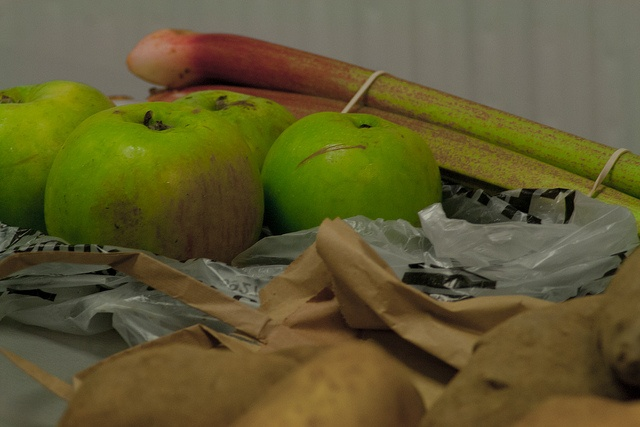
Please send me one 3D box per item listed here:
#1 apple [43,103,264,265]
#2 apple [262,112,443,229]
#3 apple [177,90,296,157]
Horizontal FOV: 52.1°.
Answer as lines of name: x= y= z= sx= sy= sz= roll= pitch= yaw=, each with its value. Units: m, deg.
apple: x=-0.186 y=-0.031 z=0.762 sx=0.213 sy=0.193 sz=0.198 roll=0 pitch=11 yaw=-13
apple: x=0.039 y=-0.047 z=0.849 sx=0.179 sy=0.123 sz=0.162 roll=-2 pitch=16 yaw=7
apple: x=-0.112 y=-0.137 z=0.898 sx=0.141 sy=0.074 sz=0.107 roll=11 pitch=11 yaw=5
